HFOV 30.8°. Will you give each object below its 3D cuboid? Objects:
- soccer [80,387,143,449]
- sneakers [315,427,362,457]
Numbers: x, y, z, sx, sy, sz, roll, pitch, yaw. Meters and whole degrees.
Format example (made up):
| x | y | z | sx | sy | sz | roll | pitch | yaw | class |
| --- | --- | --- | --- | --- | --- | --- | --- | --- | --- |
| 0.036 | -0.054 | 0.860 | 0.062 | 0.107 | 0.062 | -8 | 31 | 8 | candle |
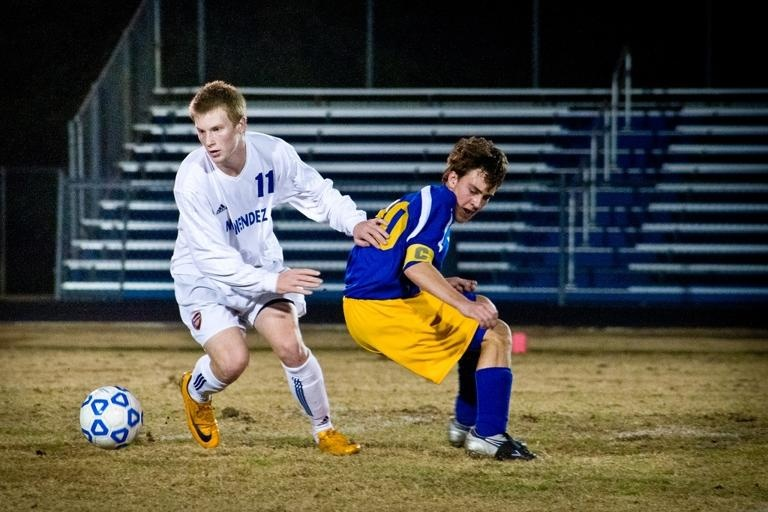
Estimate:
| x | y | z | sx | sy | sz | roll | pitch | yaw | class |
| --- | --- | --- | --- | --- | --- | --- | --- | --- | --- |
| -2.806 | 1.720 | 14.826 | 0.673 | 0.692 | 0.615 | 1 | -3 | 3 | soccer |
| -0.477 | 1.957 | 14.513 | 0.413 | 0.154 | 0.240 | -2 | 4 | 37 | sneakers |
